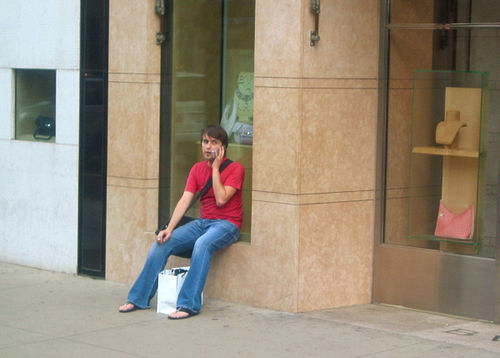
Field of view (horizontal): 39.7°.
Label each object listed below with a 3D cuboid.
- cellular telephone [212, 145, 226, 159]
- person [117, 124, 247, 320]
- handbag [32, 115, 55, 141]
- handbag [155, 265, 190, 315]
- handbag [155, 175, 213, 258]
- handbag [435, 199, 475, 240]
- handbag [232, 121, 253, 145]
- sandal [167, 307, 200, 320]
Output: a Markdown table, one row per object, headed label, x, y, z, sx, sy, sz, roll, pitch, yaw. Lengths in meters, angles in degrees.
| label | x | y | z | sx | sy | sz | roll | pitch | yaw |
| --- | --- | --- | --- | --- | --- | --- | --- | --- | --- |
| cellular telephone | -0.365 | -0.325 | 8.129 | 0.171 | 0.167 | 0.096 | 2 | 3 | -18 |
| person | -0.676 | 0.445 | 8.115 | 0.778 | 2.171 | 1.217 | 5 | 4 | 40 |
| handbag | -2.941 | -0.735 | 9.906 | 0.326 | 0.352 | 0.097 | 1 | -1 | 39 |
| handbag | -0.996 | 1.332 | 7.933 | 0.399 | 0.425 | 0.171 | -19 | -14 | 26 |
| handbag | -0.801 | 0.432 | 8.319 | 0.646 | 1.039 | 0.578 | 2 | 3 | -7 |
| handbag | 2.345 | 0.456 | 7.929 | 0.398 | 0.433 | 0.140 | 5 | 5 | 38 |
| handbag | -0.092 | -0.602 | 8.879 | 0.106 | 0.292 | 0.389 | 0 | 5 | -38 |
| sandal | -0.749 | 1.487 | 7.735 | 0.342 | 0.163 | 0.107 | 3 | -4 | -26 |
